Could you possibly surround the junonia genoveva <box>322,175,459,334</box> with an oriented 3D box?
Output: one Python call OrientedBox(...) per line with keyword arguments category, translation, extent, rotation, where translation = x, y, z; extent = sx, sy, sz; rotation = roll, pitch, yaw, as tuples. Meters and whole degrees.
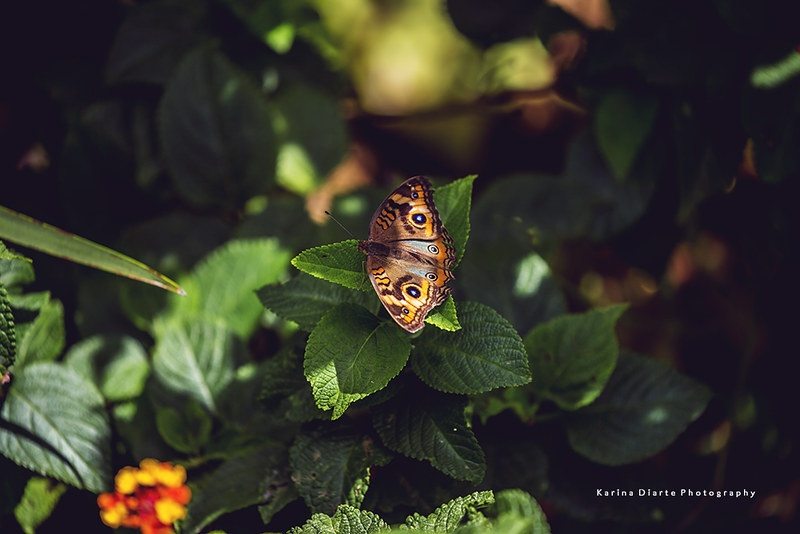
OrientedBox(category="junonia genoveva", translation=(0.000, -0.017, 1.321), extent=(0.169, 0.260, 0.063), rotation=(18, 30, 13))
